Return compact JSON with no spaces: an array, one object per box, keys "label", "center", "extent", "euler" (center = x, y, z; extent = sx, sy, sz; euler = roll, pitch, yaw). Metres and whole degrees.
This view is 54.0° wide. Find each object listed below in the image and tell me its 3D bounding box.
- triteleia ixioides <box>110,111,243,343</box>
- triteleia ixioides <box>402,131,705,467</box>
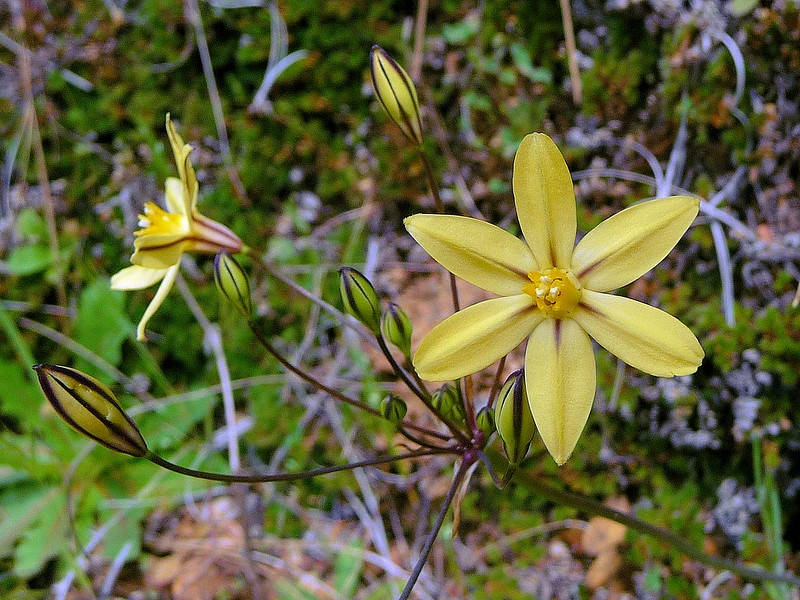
[{"label":"triteleia ixioides","center":[-0.770,-0.243,2.786],"extent":[0.398,0.691,0.721],"euler":[4,81,-24]},{"label":"triteleia ixioides","center":[0.463,-0.016,2.405],"extent":[0.950,0.447,0.766],"euler":[22,60,6]}]
